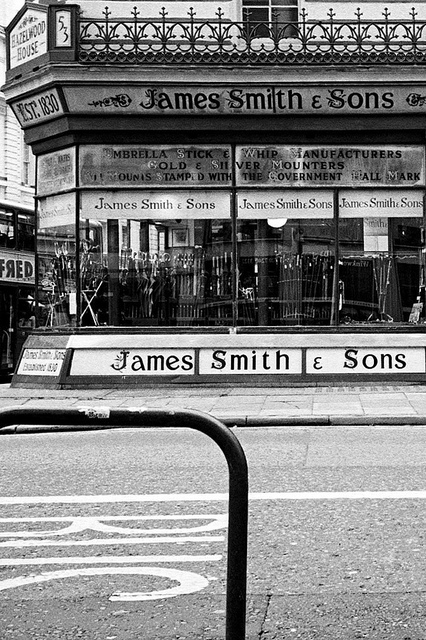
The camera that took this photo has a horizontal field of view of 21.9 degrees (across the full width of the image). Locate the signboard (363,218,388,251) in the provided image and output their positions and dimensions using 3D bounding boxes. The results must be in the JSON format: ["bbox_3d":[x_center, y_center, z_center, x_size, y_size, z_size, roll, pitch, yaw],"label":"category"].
[{"bbox_3d":[2.345,-1.233,15.918,0.327,0.629,0.054,0,3,2],"label":"signboard"}]

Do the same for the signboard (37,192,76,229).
[{"bbox_3d":[-2.335,-1.600,16.318,0.163,0.514,0.923,-3,6,-41],"label":"signboard"}]

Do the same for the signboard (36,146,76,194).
[{"bbox_3d":[-2.338,-2.226,16.459,0.847,0.726,0.037,-5,-6,38],"label":"signboard"}]

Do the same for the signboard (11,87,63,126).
[{"bbox_3d":[-2.573,-3.119,16.203,0.221,0.445,1.343,-3,6,-37],"label":"signboard"}]

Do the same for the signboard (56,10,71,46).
[{"bbox_3d":[-2.123,-4.128,15.607,0.215,0.509,0.154,0,4,-2],"label":"signboard"}]
